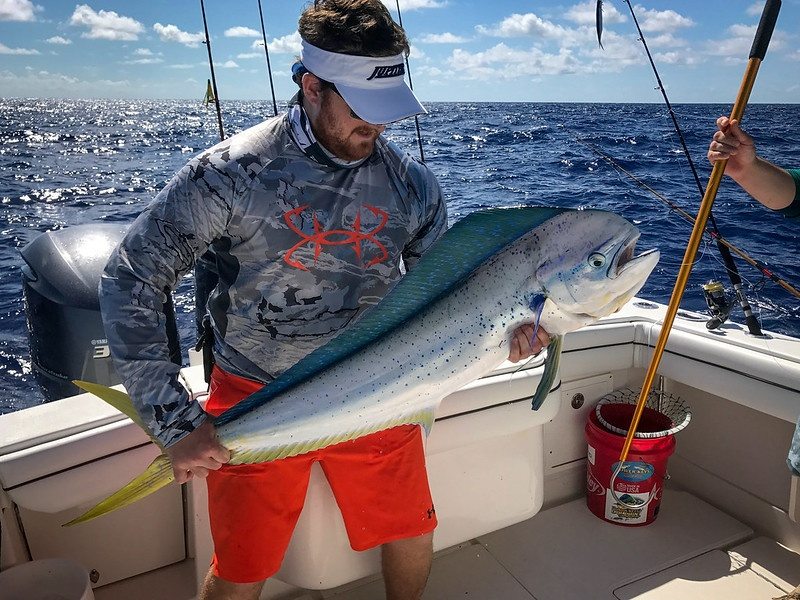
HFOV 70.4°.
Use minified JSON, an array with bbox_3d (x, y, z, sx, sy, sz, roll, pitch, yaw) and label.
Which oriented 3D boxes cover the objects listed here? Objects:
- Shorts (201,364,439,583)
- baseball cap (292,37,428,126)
[{"bbox_3d":[-0.293,0.613,2.018,0.834,0.764,0.274,-14,13,-15],"label":"Shorts"},{"bbox_3d":[-0.130,-0.731,1.885,0.395,0.264,0.266,-6,25,-9],"label":"baseball cap"}]
